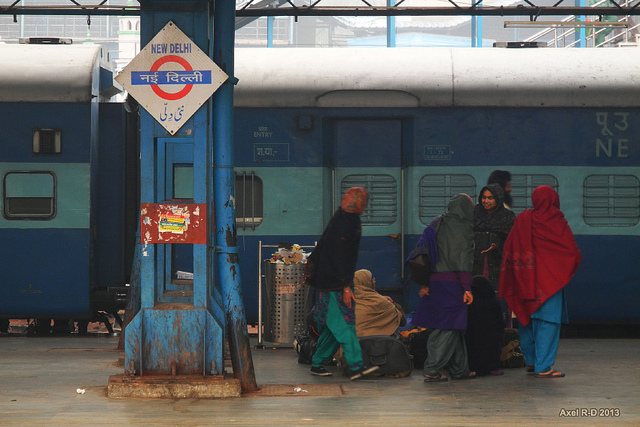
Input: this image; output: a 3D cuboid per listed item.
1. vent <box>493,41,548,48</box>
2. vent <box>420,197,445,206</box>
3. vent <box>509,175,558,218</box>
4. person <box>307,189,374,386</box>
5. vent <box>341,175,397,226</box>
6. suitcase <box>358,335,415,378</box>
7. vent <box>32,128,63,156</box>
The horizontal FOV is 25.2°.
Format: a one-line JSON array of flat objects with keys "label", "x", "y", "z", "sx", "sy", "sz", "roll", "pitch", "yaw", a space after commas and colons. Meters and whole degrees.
[{"label": "vent", "x": 3.716, "y": -3.160, "z": 26.733, "sx": 0.790, "sy": 0.120, "sz": 0.694, "roll": 0, "pitch": 1, "yaw": -3}, {"label": "vent", "x": 2.003, "y": -0.229, "z": 25.725, "sx": 0.440, "sy": 0.131, "sz": 0.033, "roll": -2, "pitch": -1, "yaw": -6}, {"label": "vent", "x": 3.791, "y": -0.366, "z": 25.678, "sx": 0.826, "sy": 0.659, "sz": 0.183, "roll": -3, "pitch": -1, "yaw": 5}, {"label": "person", "x": 0.326, "y": 1.207, "z": 23.615, "sx": 1.003, "sy": 2.697, "sz": 0.405, "roll": -3, "pitch": -1, "yaw": -2}, {"label": "vent", "x": 0.894, "y": -0.304, "z": 25.909, "sx": 1.201, "sy": 1.048, "sz": 0.143, "roll": 5, "pitch": 9, "yaw": 29}, {"label": "suitcase", "x": 1.089, "y": 2.377, "z": 24.199, "sx": 1.067, "sy": 0.679, "sz": 1.050, "roll": 7, "pitch": -2, "yaw": 10}, {"label": "vent", "x": -4.852, "y": -1.283, "z": 25.581, "sx": 0.526, "sy": 0.422, "sz": 0.194, "roll": 0, "pitch": -4, "yaw": -2}]
